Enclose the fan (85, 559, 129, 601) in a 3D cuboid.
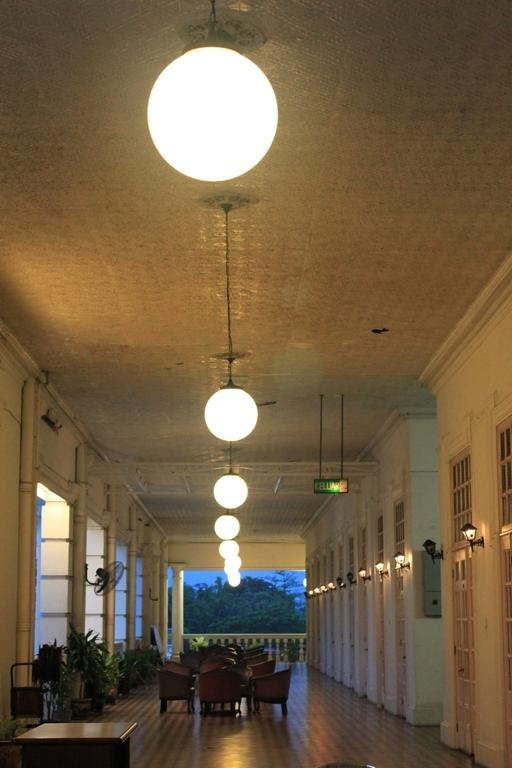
[{"bbox_3d":[-3.558,4.609,15.818,0.676,0.828,3.101,5,-16,-13],"label":"fan"}]
